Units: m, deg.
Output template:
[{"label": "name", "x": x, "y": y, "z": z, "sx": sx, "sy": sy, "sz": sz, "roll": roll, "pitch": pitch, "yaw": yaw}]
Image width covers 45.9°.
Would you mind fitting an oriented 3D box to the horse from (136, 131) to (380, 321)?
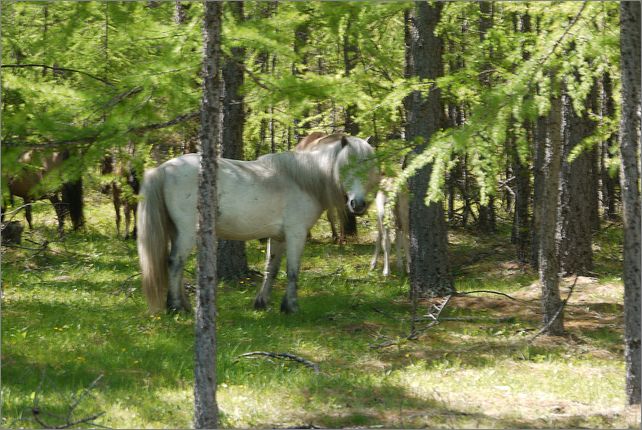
[{"label": "horse", "x": -1.566, "y": 0.161, "z": 15.519, "sx": 5.955, "sy": 3.174, "sz": 1.989, "roll": -4, "pitch": 1, "yaw": -45}]
